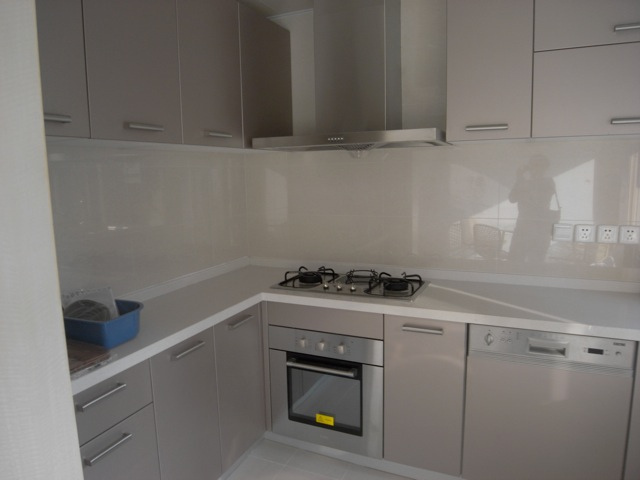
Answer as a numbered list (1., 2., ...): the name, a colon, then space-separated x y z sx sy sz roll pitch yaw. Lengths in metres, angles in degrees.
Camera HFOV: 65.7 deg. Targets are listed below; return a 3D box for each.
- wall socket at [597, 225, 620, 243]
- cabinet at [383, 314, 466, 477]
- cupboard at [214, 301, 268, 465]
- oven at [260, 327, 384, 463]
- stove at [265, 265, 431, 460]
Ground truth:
1. wall socket: 1.447 -0.029 2.472 0.080 0.087 0.087 2 6 33
2. cabinet: 0.576 0.721 2.525 0.371 0.757 0.366 5 8 29
3. cupboard: -0.400 0.737 2.515 0.227 0.672 0.258 7 8 14
4. oven: 0.113 0.772 2.759 0.662 0.648 0.453 3 8 28
5. stove: 0.168 0.662 2.787 0.824 0.929 0.647 5 9 32
